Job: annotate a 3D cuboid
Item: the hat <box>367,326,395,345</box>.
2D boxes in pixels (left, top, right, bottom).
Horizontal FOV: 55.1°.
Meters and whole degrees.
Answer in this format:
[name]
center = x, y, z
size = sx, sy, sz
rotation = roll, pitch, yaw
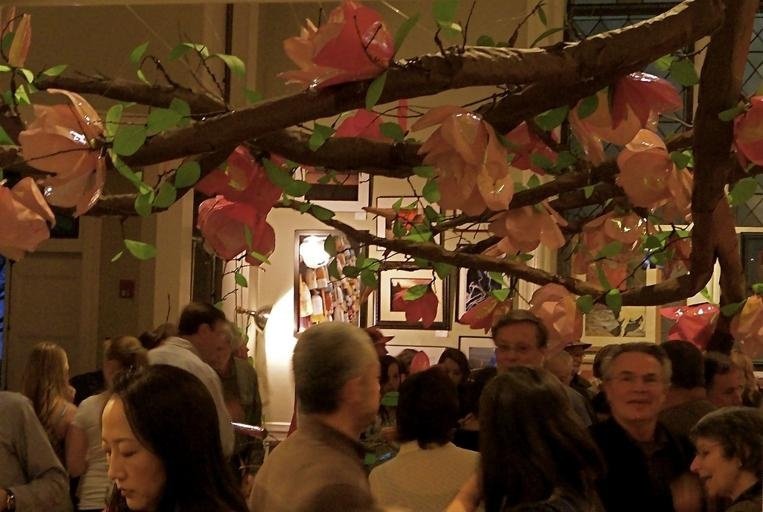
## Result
[hat]
center = -0.027, 0.248, 2.270
size = 0.096, 0.038, 0.098
rotation = -1, -1, 42
